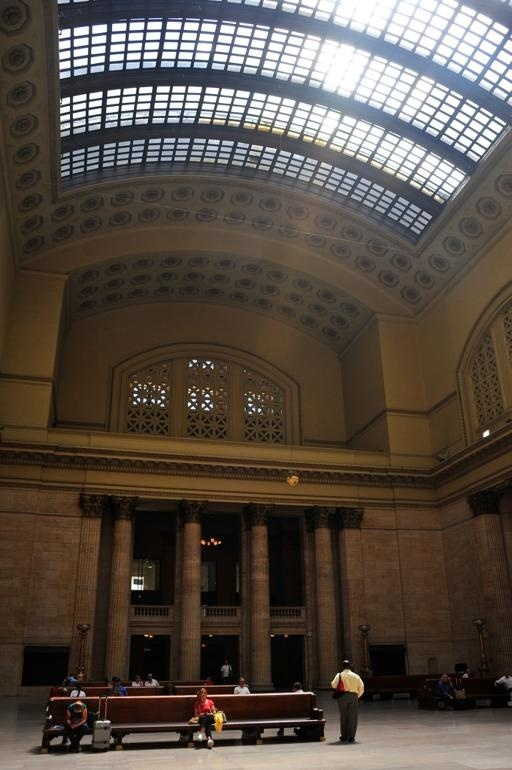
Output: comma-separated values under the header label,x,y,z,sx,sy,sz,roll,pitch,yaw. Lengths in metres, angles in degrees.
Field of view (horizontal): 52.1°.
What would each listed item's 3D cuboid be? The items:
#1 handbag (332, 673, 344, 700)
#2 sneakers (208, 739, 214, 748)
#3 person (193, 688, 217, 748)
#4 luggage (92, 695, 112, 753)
label,x,y,z,sx,sy,sz,roll,pitch,yaw
handbag,1.103,4.079,7.072,0.155,0.328,0.456,-4,-21,5
sneakers,-0.604,4.788,6.975,0.053,0.067,0.160,5,-44,-12
person,-0.715,4.628,7.339,0.297,0.474,0.842,3,-10,-8
luggage,-1.904,4.203,6.500,0.219,0.583,0.184,8,-33,-21
